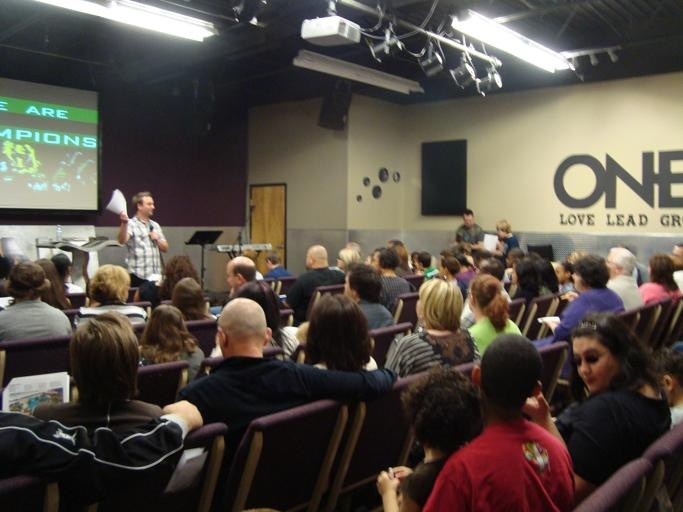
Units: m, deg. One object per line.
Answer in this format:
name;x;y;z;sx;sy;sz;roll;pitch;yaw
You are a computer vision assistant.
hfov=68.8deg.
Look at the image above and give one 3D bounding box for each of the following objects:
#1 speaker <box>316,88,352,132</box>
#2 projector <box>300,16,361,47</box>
speaker;-0.114;-2.909;10.009;0.509;0.767;0.188;17;25;14
projector;-0.108;-2.828;6.144;0.533;0.378;0.600;-4;7;-42
